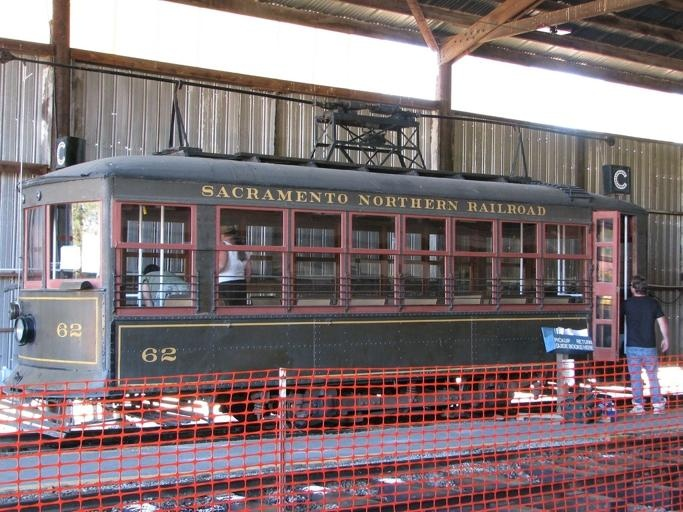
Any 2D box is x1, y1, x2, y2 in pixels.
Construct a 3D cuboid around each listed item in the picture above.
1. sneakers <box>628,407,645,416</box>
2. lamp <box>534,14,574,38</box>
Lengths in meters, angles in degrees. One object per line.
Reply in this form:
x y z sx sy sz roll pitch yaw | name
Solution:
4.258 2.270 18.772 0.271 0.123 0.377 0 -4 -7 | sneakers
4.207 -4.420 25.122 0.783 0.279 0.484 -7 10 -24 | lamp
